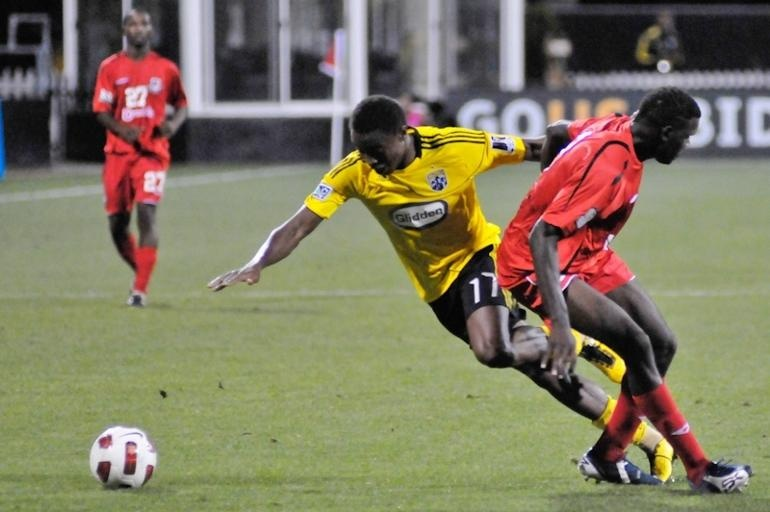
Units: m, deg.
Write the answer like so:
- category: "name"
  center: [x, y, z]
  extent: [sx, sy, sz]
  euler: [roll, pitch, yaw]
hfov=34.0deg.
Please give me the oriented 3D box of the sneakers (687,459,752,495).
- category: "sneakers"
  center: [1.968, 1.314, 7.389]
  extent: [0.356, 0.173, 0.148]
  euler: [-7, 39, 13]

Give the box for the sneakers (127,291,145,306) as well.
- category: "sneakers"
  center: [-1.899, 0.326, 9.553]
  extent: [0.103, 0.092, 0.121]
  euler: [5, -7, -1]

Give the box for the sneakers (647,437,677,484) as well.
- category: "sneakers"
  center: [1.698, 1.253, 7.687]
  extent: [0.155, 0.243, 0.076]
  euler: [18, 19, 14]

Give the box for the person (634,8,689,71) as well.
- category: "person"
  center: [5.796, -4.379, 26.010]
  extent: [0.830, 1.180, 1.228]
  euler: [-1, 4, -4]

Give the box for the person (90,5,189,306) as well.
- category: "person"
  center: [-1.917, -0.740, 9.720]
  extent: [0.673, 2.221, 0.743]
  euler: [0, 4, 16]
